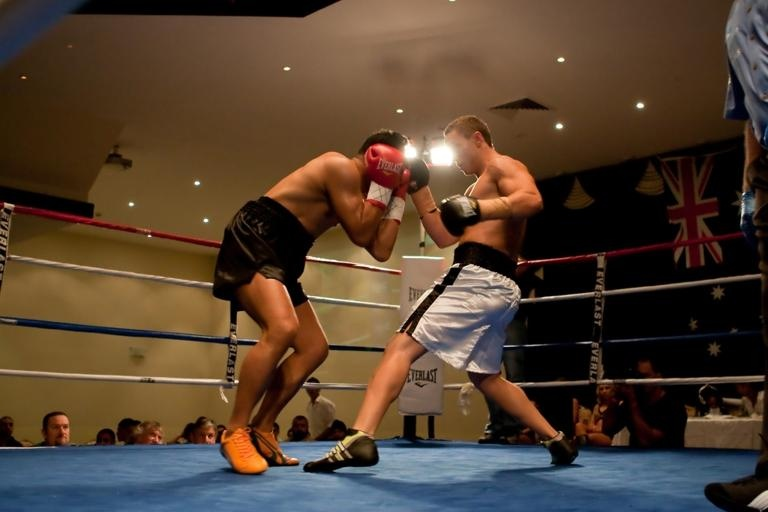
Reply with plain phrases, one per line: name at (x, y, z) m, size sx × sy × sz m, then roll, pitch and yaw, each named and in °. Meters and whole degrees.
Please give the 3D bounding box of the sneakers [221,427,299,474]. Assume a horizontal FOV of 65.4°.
sneakers at (-0.697, 0.959, 2.973) m, size 0.509 × 0.220 × 0.177 m, roll -10°, pitch -11°, yaw 34°

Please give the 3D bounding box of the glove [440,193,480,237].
glove at (0.343, -0.199, 2.982) m, size 0.239 × 0.144 × 0.324 m, roll -12°, pitch -11°, yaw 20°

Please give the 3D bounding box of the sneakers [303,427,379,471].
sneakers at (-0.215, 0.922, 2.827) m, size 0.344 × 0.165 × 0.108 m, roll -5°, pitch -16°, yaw -4°

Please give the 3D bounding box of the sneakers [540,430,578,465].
sneakers at (0.994, 1.055, 3.290) m, size 0.236 × 0.158 × 0.075 m, roll -4°, pitch -5°, yaw -23°

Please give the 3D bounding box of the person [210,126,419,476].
person at (-0.383, 0.162, 3.210) m, size 1.087 × 1.877 × 0.808 m, roll 5°, pitch -12°, yaw -13°

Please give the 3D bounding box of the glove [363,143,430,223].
glove at (0.036, -0.409, 3.176) m, size 0.313 × 0.403 × 0.181 m, roll 16°, pitch 4°, yaw -22°
